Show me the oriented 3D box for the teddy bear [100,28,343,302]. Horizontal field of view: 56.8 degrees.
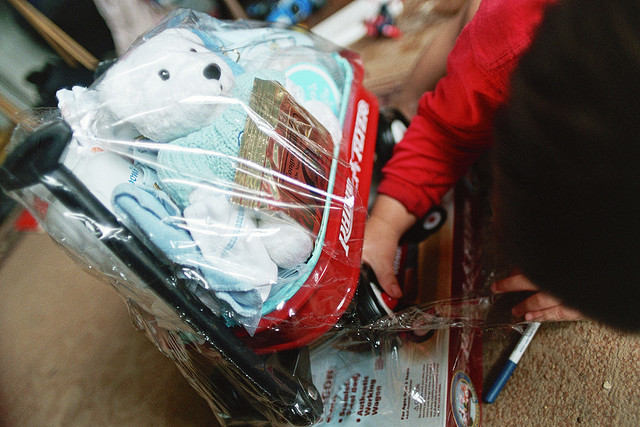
[{"bbox_3d":[-0.193,-0.081,1.167,0.392,0.505,0.165,-49,12,-31],"label":"teddy bear"}]
